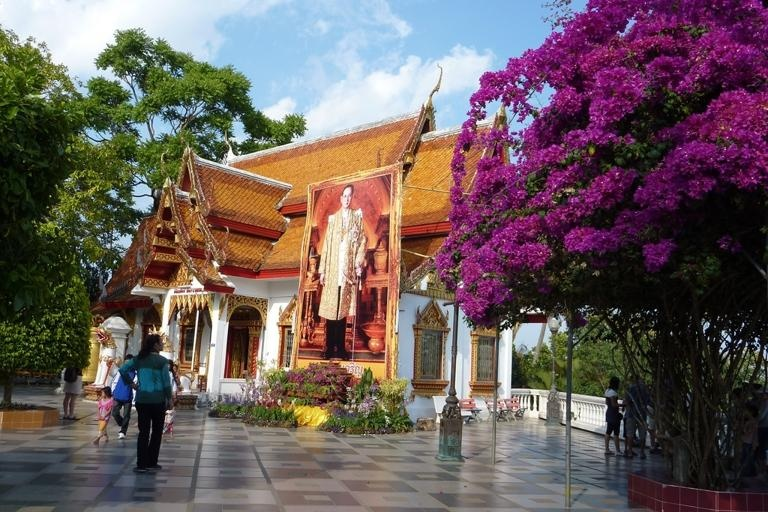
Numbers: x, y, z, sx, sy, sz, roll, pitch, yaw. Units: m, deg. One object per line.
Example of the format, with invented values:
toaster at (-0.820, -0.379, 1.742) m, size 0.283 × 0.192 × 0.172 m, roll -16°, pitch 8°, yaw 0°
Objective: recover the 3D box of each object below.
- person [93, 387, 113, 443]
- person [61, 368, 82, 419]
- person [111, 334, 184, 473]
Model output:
person at (-6.609, 3.755, 13.044) m, size 0.298 × 1.247 × 1.018 m, roll 7°, pitch -10°, yaw -25°
person at (-9.571, 4.169, 16.860) m, size 0.476 × 1.608 × 1.969 m, roll 7°, pitch -10°, yaw -28°
person at (-4.709, 2.805, 10.788) m, size 0.973 × 2.517 × 1.590 m, roll 7°, pitch -10°, yaw -25°
